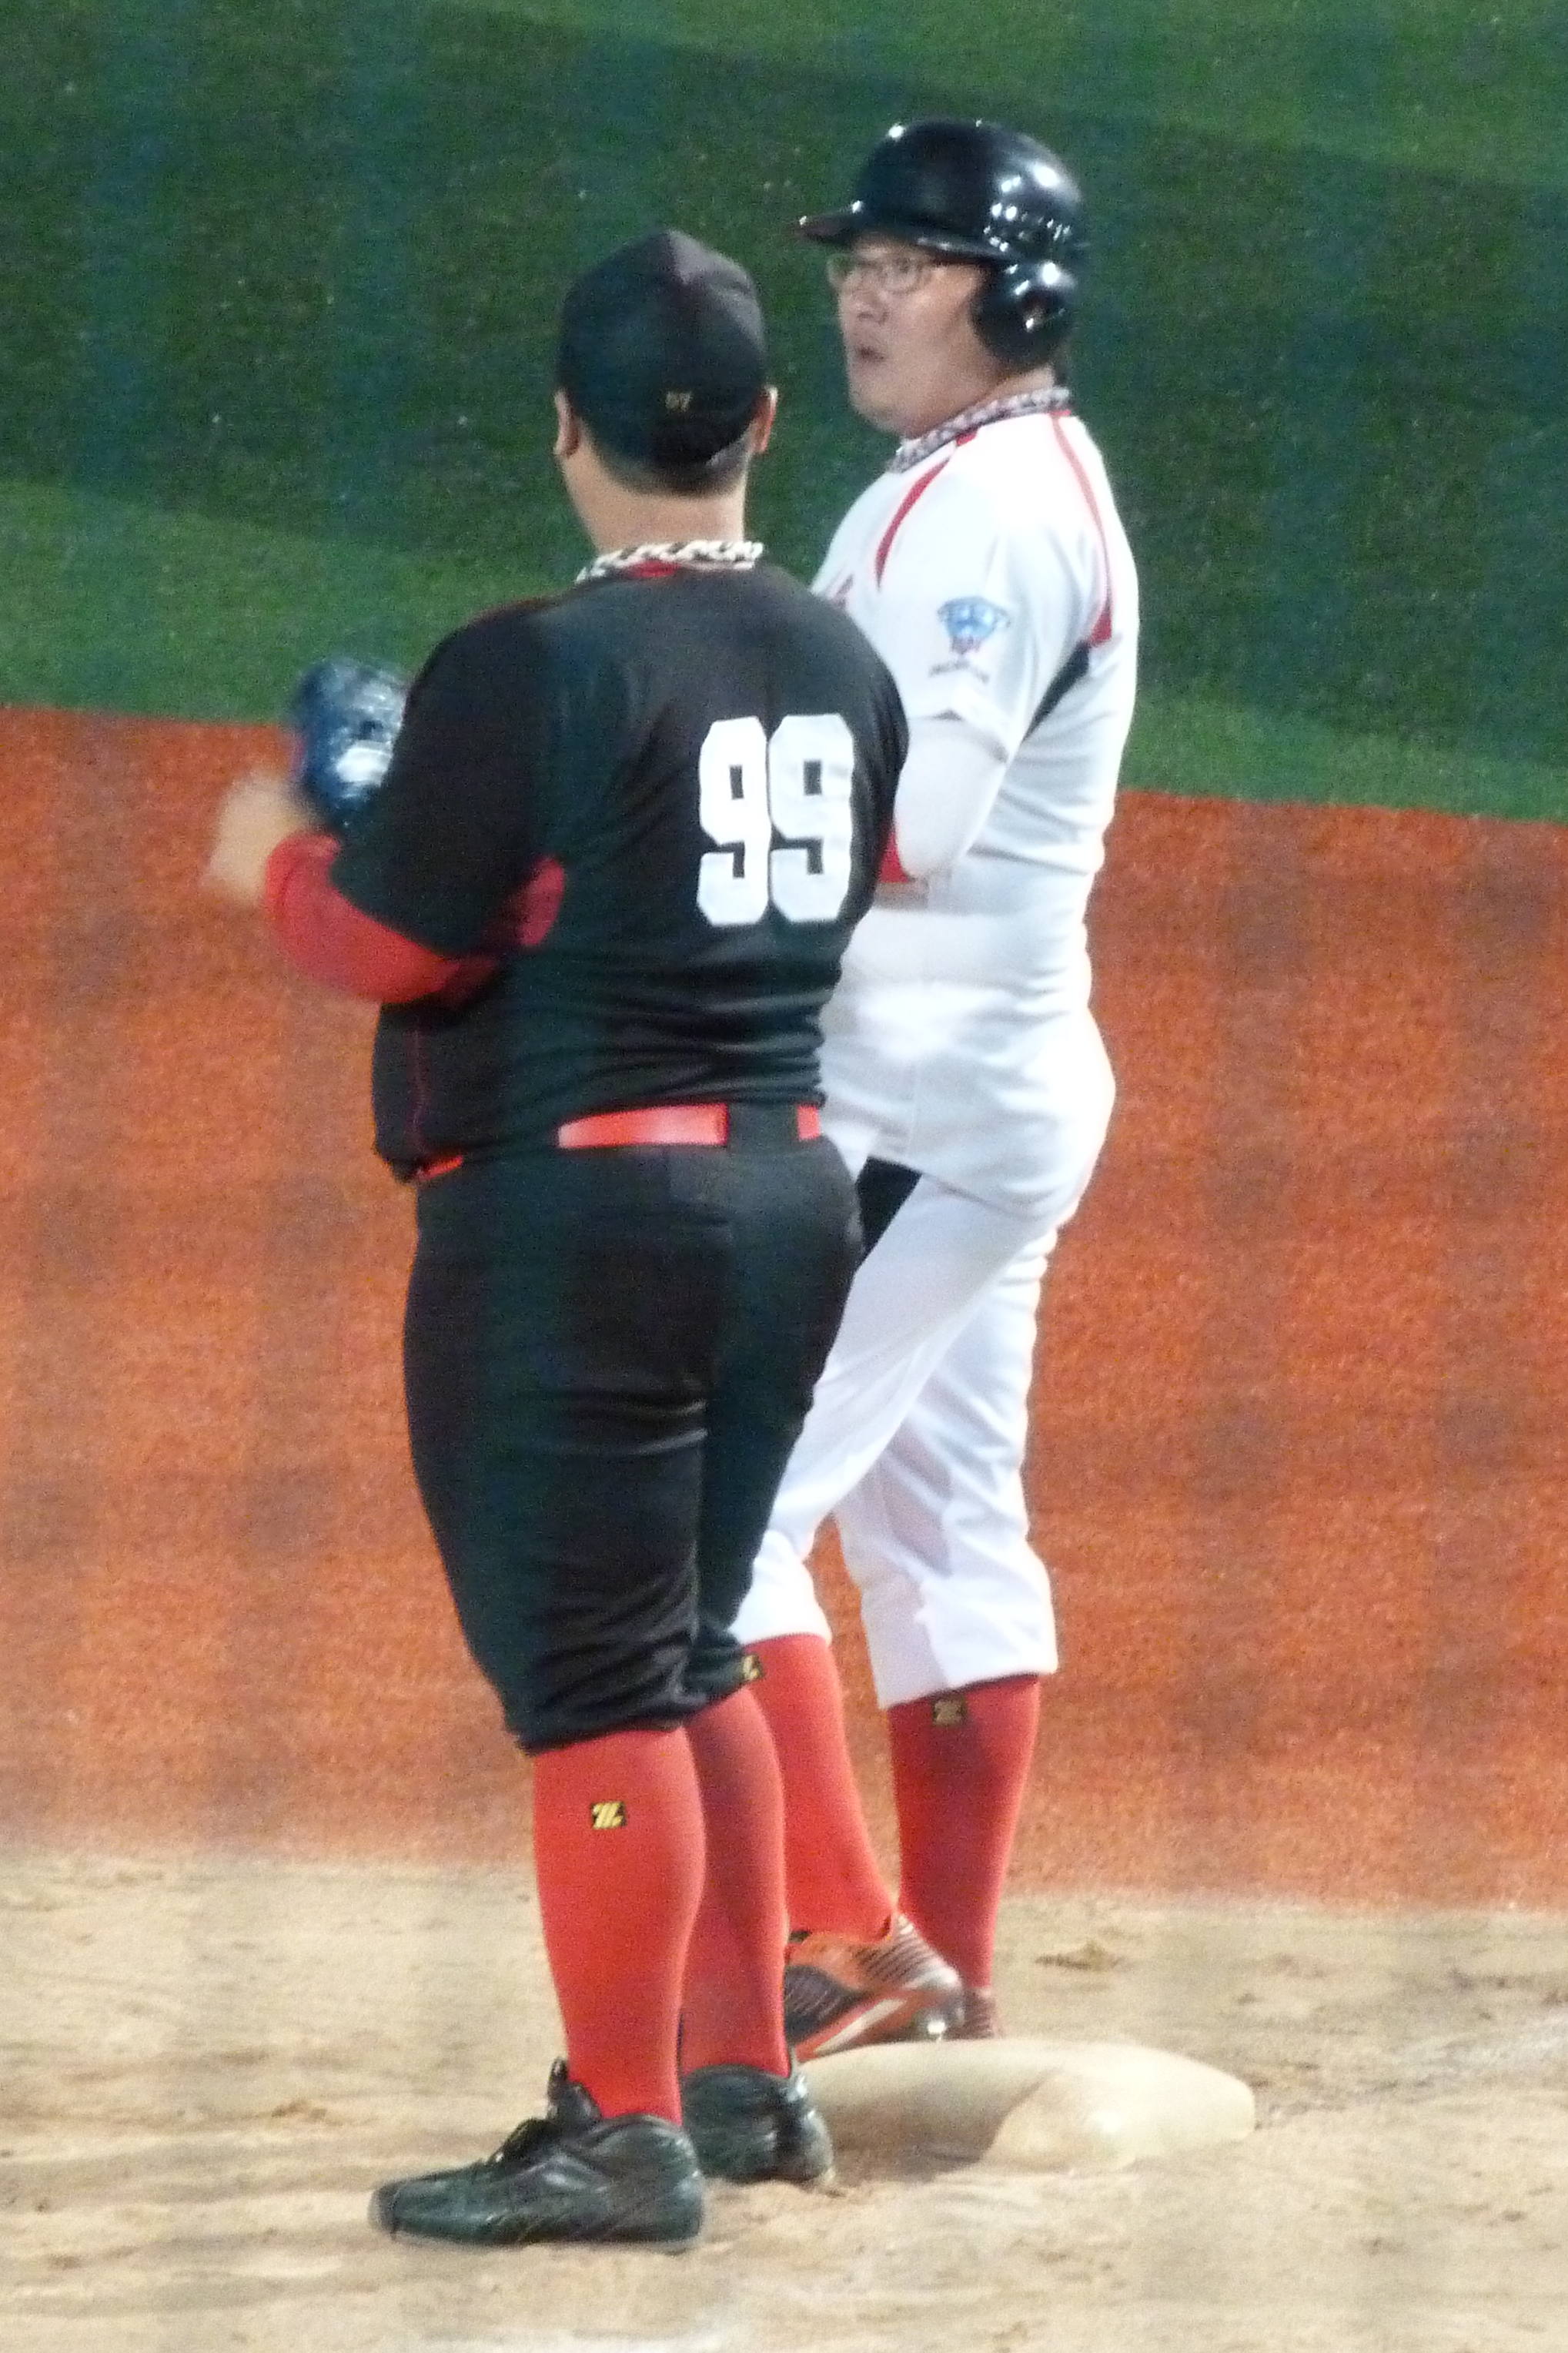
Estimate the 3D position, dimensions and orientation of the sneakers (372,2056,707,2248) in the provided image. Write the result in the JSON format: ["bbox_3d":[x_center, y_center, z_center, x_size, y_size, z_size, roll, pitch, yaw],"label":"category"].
[{"bbox_3d":[-0.168,0.820,4.457,0.326,0.179,0.109,3,-14,1],"label":"sneakers"}]

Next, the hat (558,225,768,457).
[{"bbox_3d":[-0.092,-0.679,4.443,0.174,0.141,0.237,2,40,4],"label":"hat"}]

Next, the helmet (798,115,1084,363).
[{"bbox_3d":[0.195,-0.847,4.949,0.244,0.193,0.246,-3,9,-37],"label":"helmet"}]

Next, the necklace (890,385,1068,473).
[{"bbox_3d":[0.174,-0.676,4.875,0.160,0.085,0.123,2,5,1],"label":"necklace"}]

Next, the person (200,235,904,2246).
[{"bbox_3d":[-0.161,0.045,4.432,0.546,1.634,0.303,1,5,-10],"label":"person"}]
